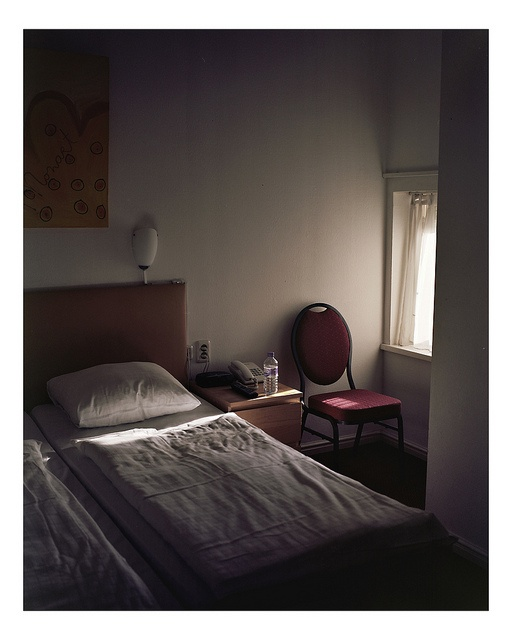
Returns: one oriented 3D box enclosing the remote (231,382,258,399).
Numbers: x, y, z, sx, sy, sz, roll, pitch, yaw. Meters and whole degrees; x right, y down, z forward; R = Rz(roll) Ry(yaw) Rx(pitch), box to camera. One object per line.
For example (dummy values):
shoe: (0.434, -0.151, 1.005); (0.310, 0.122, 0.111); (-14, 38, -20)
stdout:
remote: (-0.035, 0.238, 1.626); (0.043, 0.029, 0.105); (19, 5, -38)

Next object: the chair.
chair: (0.274, 0.211, 1.533); (0.238, 0.612, 0.299); (-4, -1, -26)

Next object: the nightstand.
nightstand: (-0.023, 0.239, 1.660); (0.231, 0.327, 0.269); (-4, 9, -29)

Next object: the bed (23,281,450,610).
bed: (-0.063, 0.301, 1.280); (0.446, 0.450, 0.962); (-5, 15, -22)
